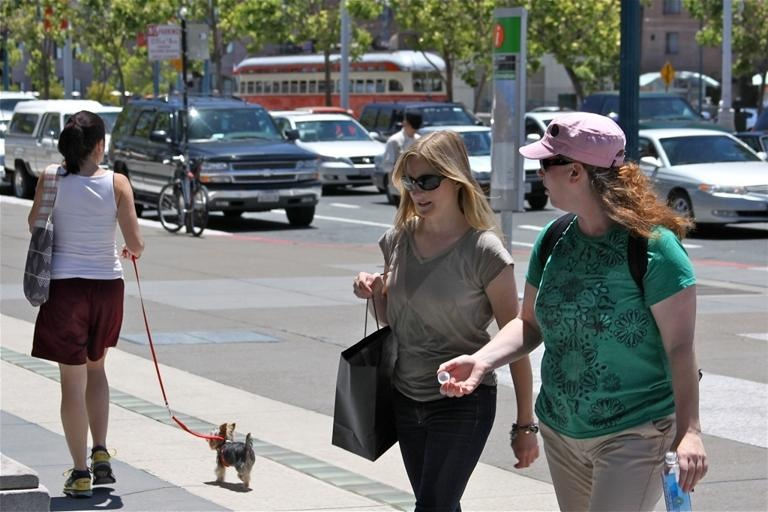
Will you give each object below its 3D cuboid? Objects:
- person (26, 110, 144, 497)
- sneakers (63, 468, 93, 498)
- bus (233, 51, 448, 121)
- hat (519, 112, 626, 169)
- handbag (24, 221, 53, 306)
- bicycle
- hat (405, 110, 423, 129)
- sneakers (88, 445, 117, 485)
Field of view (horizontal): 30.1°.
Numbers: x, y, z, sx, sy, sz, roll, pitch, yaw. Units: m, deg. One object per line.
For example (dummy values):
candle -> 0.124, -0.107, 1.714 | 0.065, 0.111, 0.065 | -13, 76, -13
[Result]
person -> -2.404, 0.350, 11.173 | 0.797, 2.895, 0.843 | 2, 11, 10
sneakers -> -2.381, 1.749, 11.057 | 0.221, 0.202, 0.186 | -2, 11, -13
bus -> -2.366, -6.650, 57.256 | 7.579, 2.302, 1.808 | -1, -3, -7
hat -> 1.289, -0.777, 9.563 | 0.741, 0.342, 0.525 | 10, 8, 13
handbag -> -2.709, 0.045, 11.152 | 0.220, 0.679, 0.249 | 0, 10, 1
bicycle -> -3.297, -1.024, 23.316 | 0.845, 1.199, 1.940 | 1, -2, 16
hat -> 0.360, -1.728, 17.931 | 0.196, 0.244, 0.249 | -1, 10, 0
sneakers -> -2.198, 1.663, 11.141 | 0.146, 0.168, 0.336 | -2, 4, -9
